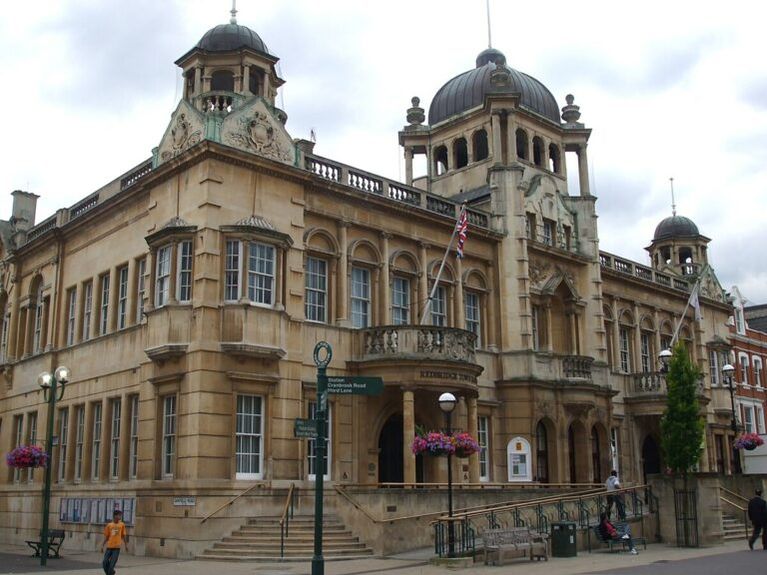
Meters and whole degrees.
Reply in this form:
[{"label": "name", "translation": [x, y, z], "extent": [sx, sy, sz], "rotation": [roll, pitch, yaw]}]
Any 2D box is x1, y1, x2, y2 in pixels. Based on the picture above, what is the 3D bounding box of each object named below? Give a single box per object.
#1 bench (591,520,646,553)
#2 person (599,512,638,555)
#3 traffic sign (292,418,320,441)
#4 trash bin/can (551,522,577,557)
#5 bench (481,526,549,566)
[{"label": "bench", "translation": [8.125, 8.750, 29.488], "extent": [1.352, 1.832, 0.796], "rotation": [-6, -8, 13]}, {"label": "person", "translation": [8.377, 8.754, 29.579], "extent": [1.359, 1.584, 0.735], "rotation": [-15, -27, 22]}, {"label": "traffic sign", "translation": [-2.007, 3.562, 21.363], "extent": [0.395, 0.494, 0.884], "rotation": [-13, -23, 29]}, {"label": "trash bin/can", "translation": [6.137, 8.560, 28.281], "extent": [0.812, 1.192, 0.924], "rotation": [-1, -11, 0]}, {"label": "bench", "translation": [4.225, 8.392, 26.948], "extent": [2.612, 1.225, 1.104], "rotation": [16, -27, -40]}]
